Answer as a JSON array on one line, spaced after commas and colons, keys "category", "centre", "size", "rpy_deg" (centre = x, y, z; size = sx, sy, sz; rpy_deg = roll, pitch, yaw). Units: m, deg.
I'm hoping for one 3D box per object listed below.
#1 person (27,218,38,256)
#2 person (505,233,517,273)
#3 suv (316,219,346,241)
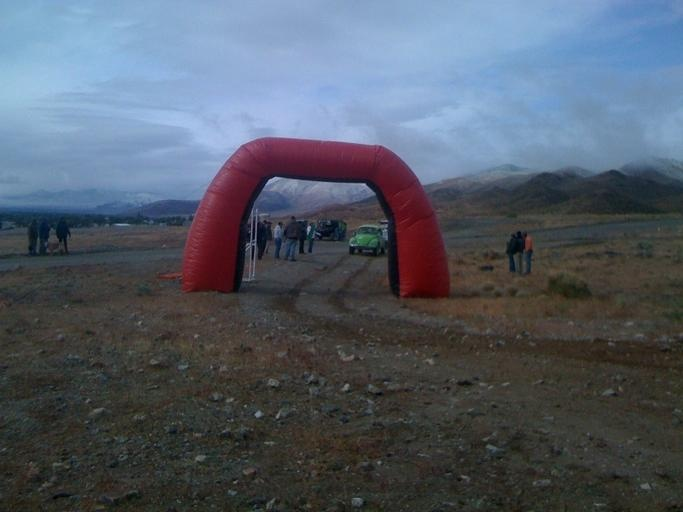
[{"category": "person", "centre": [-15.507, -0.992, 21.724], "size": [0.461, 1.813, 1.136], "rpy_deg": [-4, 10, -35]}, {"category": "person", "centre": [7.166, -0.183, 18.172], "size": [0.357, 1.567, 0.899], "rpy_deg": [4, 8, 13]}, {"category": "suv", "centre": [-1.106, -2.582, 42.729], "size": [2.676, 1.681, 1.658], "rpy_deg": [-1, -2, 18]}]
